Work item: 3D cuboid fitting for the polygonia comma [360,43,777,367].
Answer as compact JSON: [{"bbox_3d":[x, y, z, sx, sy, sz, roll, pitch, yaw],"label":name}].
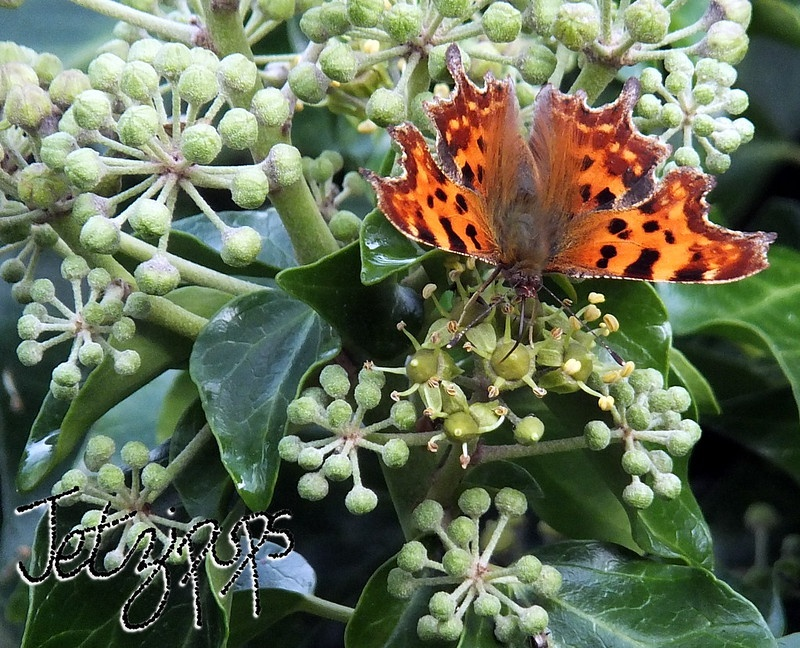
[{"bbox_3d":[0.203,-0.166,1.284,0.520,0.309,0.315,0,44,-19],"label":"polygonia comma"}]
